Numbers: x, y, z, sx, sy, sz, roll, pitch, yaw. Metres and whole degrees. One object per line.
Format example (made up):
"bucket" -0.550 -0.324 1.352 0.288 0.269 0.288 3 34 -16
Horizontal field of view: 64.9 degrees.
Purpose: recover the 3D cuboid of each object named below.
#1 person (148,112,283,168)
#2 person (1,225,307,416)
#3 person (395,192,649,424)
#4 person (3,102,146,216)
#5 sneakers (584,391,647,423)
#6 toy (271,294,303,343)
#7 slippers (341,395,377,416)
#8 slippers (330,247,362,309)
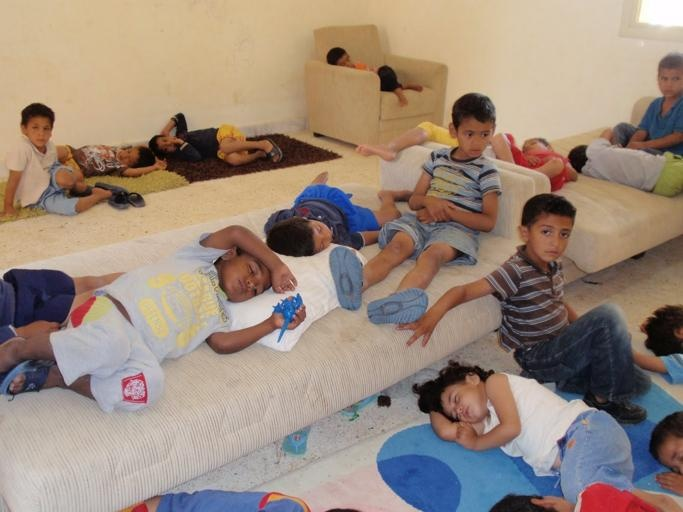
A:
"person" -1.169 -1.010 4.888 0.873 0.312 0.620 -15 42 -9
"person" -0.686 0.230 2.030 1.097 0.438 0.437 -18 35 -30
"person" 0.887 0.207 2.374 1.148 0.891 0.528 2 4 -5
"person" -1.955 -0.779 4.026 0.936 0.916 0.668 -2 45 -30
"sneakers" 1.155 0.650 2.299 0.245 0.103 0.097 9 38 20
"toy" -0.215 0.242 2.117 0.120 0.172 0.057 16 -13 -17
"slippers" 0.078 0.659 2.348 0.176 0.014 0.068 -25 47 -27
"slippers" 0.029 0.087 2.300 0.142 0.247 0.082 1 12 23
